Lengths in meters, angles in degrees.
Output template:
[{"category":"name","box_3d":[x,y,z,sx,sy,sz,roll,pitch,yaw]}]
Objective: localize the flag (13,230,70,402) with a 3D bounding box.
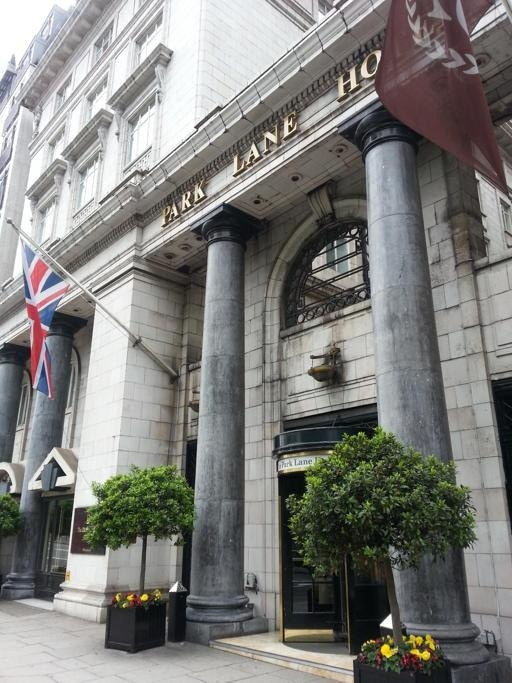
[{"category":"flag","box_3d":[-6.444,-0.733,14.702,1.330,4.518,1.124,7,-20,-24]}]

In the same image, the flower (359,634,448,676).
[{"category":"flower","box_3d":[1.301,2.871,4.591,0.730,0.199,0.620,-18,-25,39]}]

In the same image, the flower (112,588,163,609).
[{"category":"flower","box_3d":[-2.117,4.608,8.835,0.838,0.255,0.534,4,-20,-16]}]
